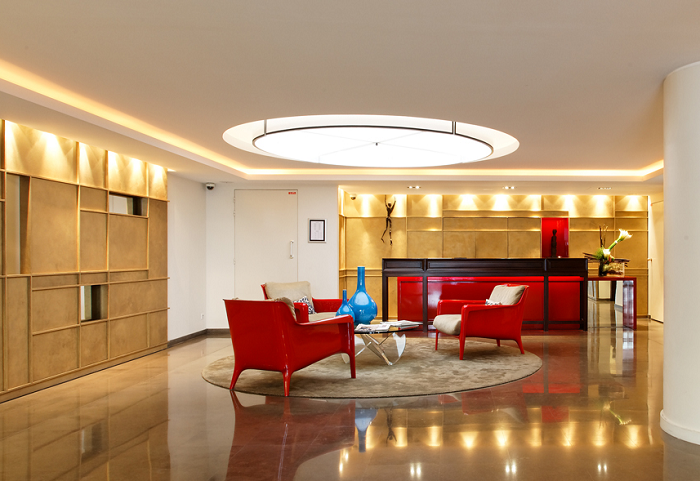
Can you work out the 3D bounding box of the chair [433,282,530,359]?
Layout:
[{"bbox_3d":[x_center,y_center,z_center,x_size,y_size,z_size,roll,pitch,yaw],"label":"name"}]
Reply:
[{"bbox_3d":[1.949,1.221,7.866,1.463,1.015,1.113,3,-8,-17],"label":"chair"}]

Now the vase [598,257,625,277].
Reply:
[{"bbox_3d":[5.471,0.549,10.490,0.720,0.409,0.368,-2,7,-13],"label":"vase"}]

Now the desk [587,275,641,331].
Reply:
[{"bbox_3d":[5.402,1.189,10.602,1.070,1.262,1.457,1,-5,-2],"label":"desk"}]

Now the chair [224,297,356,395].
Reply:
[{"bbox_3d":[-0.757,1.147,6.149,1.256,1.009,1.398,-2,-3,32],"label":"chair"}]

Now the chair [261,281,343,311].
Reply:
[{"bbox_3d":[-0.826,0.884,8.026,0.750,0.411,0.761,-6,-10,36],"label":"chair"}]

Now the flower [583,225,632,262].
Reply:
[{"bbox_3d":[5.884,0.051,11.371,0.970,0.745,0.587,3,-5,-17],"label":"flower"}]

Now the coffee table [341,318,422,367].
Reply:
[{"bbox_3d":[0.488,1.414,7.191,0.694,0.296,0.953,-2,-3,22],"label":"coffee table"}]
